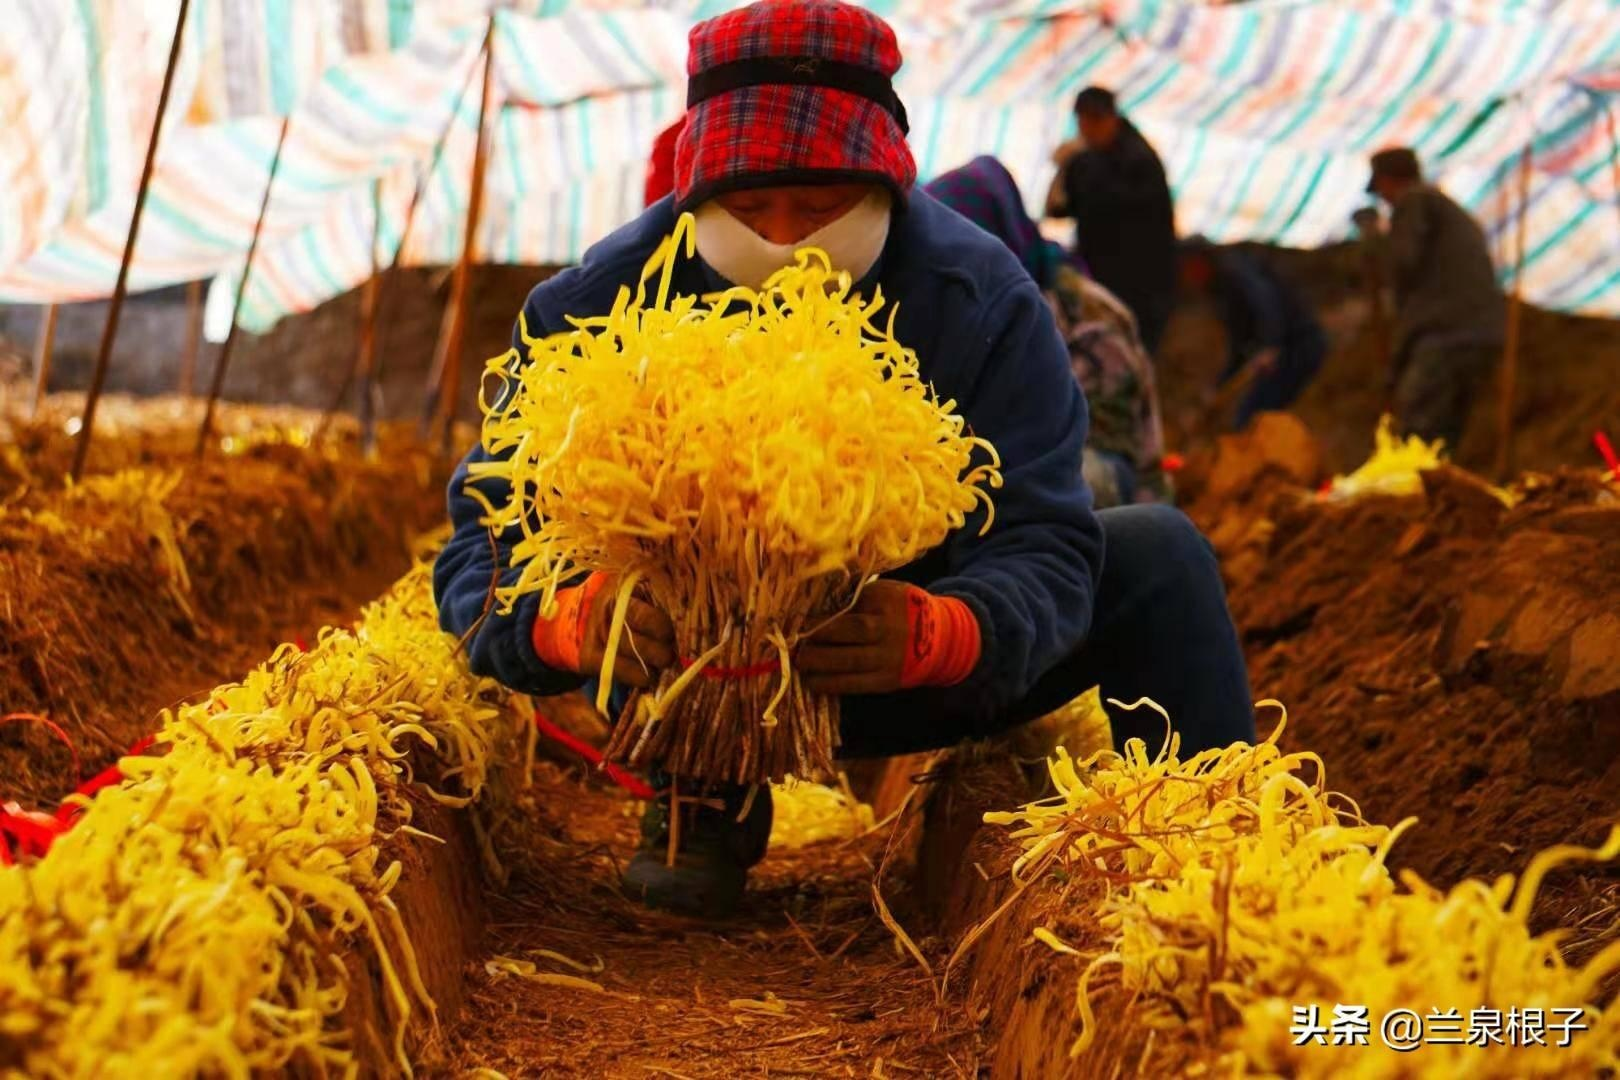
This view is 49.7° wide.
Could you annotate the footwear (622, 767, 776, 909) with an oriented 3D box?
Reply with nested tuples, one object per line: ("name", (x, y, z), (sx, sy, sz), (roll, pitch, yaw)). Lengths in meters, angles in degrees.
("footwear", (-0.247, 0.663, 3.745), (0.348, 0.359, 0.237), (12, -1, -6))

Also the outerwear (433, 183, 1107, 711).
("outerwear", (-0.052, -0.293, 4.083), (1.614, 1.363, 1.060), (2, 0, 2))

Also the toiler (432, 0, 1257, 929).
("toiler", (0.255, -0.317, 4.365), (2.204, 2.319, 1.823), (1, -8, 2))

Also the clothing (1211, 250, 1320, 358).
("clothing", (3.271, -1.687, 12.706), (0.944, 0.372, 0.716), (57, 26, 14))

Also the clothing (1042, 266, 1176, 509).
("clothing", (0.952, -0.497, 5.435), (0.557, 0.763, 0.251), (-3, -10, -26))
